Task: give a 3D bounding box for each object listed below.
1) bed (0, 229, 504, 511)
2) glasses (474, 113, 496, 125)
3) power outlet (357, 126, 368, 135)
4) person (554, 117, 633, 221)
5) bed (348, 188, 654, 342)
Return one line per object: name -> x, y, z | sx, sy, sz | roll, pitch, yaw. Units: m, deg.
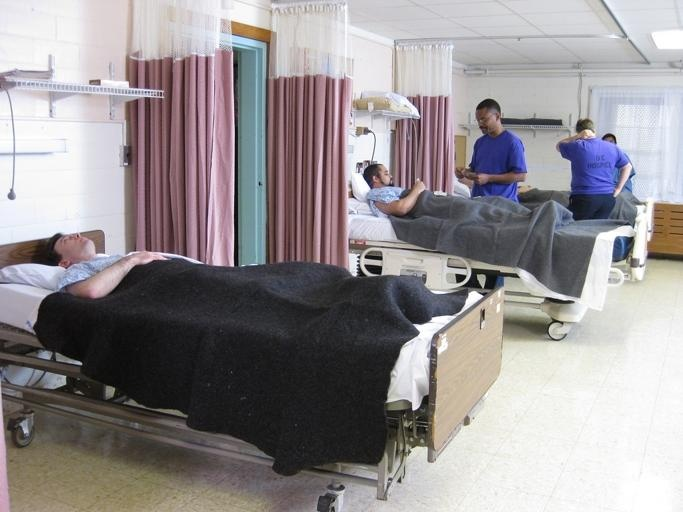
bed -> -0.457, 0.404, 2.775 | 1.928, 0.657, 1.197 | 7, 19, 22
glasses -> 1.348, -1.291, 5.383 | 0.183, 0.109, 0.099 | 3, 13, 13
power outlet -> 0.234, -1.394, 6.421 | 0.128, 0.089, 0.030 | -4, 9, -42
person -> 2.530, -0.622, 5.930 | 0.732, 1.486, 0.436 | 10, 26, 31
bed -> 1.368, -0.141, 4.880 | 1.740, 0.854, 1.489 | 7, 14, 24
